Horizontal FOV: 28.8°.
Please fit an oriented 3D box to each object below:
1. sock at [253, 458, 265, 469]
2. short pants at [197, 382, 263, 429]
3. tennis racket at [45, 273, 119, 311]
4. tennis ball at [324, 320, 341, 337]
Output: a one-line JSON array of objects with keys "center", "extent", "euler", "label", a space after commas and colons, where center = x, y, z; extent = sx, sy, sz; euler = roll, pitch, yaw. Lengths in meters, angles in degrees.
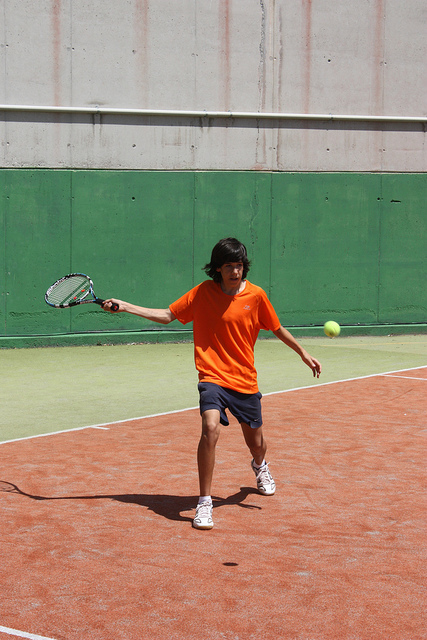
[{"center": [0.272, 0.845, 4.873], "extent": [0.090, 0.055, 0.047], "euler": [0, 5, -31], "label": "sock"}, {"center": [0.102, 0.474, 4.460], "extent": [0.372, 0.265, 0.214], "euler": [1, 5, -14], "label": "short pants"}, {"center": [-1.308, -0.279, 8.098], "extent": [0.375, 0.109, 0.920], "euler": [-36, 36, -29], "label": "tennis racket"}, {"center": [0.980, 0.080, 6.936], "extent": [0.101, 0.120, 0.258], "euler": [4, 5, 17], "label": "tennis ball"}]
